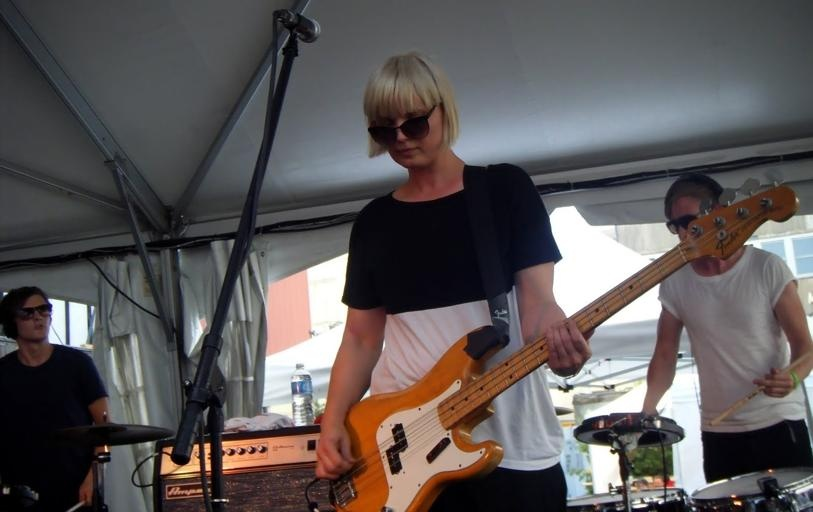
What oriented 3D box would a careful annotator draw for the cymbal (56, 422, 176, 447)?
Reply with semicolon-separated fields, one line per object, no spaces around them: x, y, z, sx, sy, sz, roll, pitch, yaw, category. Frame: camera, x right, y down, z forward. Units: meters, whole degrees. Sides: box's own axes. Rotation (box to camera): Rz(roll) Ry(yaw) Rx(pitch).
-2.165;1.322;4.775;0.400;0.106;0.417;2;-10;-8;cymbal
